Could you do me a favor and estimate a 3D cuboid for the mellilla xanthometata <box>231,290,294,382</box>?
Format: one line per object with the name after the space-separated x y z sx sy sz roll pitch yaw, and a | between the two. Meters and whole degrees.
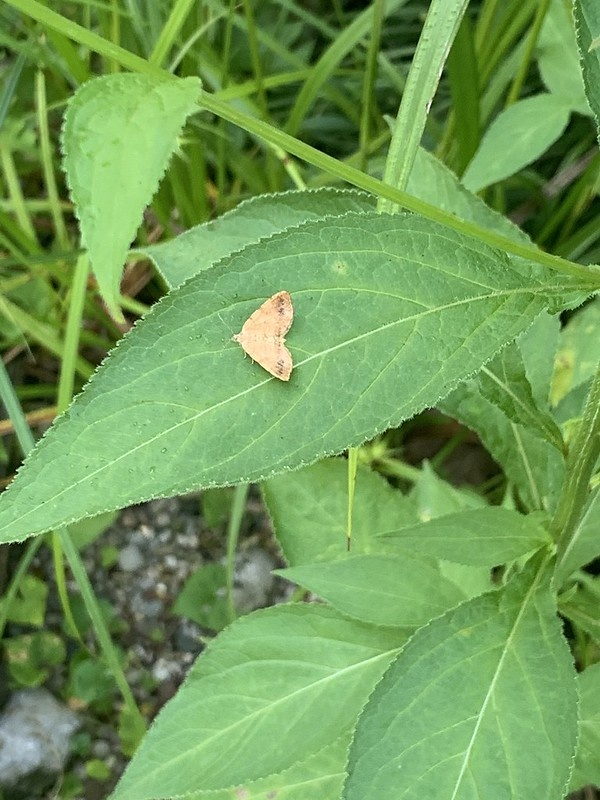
-0.025 -0.052 0.640 0.042 0.060 0.049 1 42 -5 | mellilla xanthometata
